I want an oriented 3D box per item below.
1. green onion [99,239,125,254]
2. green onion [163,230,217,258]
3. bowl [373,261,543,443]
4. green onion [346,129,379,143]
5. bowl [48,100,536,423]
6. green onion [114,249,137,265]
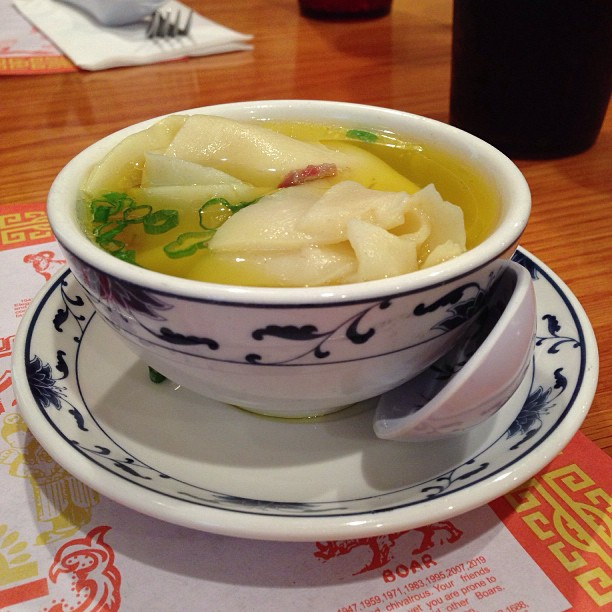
[{"bbox_3d":[-0.233,-0.072,0.728,0.028,0.011,0.023,8,27,10],"label":"green onion"},{"bbox_3d":[-0.138,-0.069,0.733,0.056,0.008,0.031,-26,38,-19],"label":"green onion"},{"bbox_3d":[0.184,0.064,0.709,0.228,0.185,0.124,-27,47,-33],"label":"bowl"},{"bbox_3d":[0.092,-0.283,1.012,0.050,0.011,0.024,13,57,-6],"label":"green onion"},{"bbox_3d":[0.005,-0.076,0.839,0.649,0.226,0.540,7,26,13],"label":"bowl"},{"bbox_3d":[-0.202,-0.053,0.673,0.022,0.021,0.011,15,43,-3],"label":"green onion"}]
